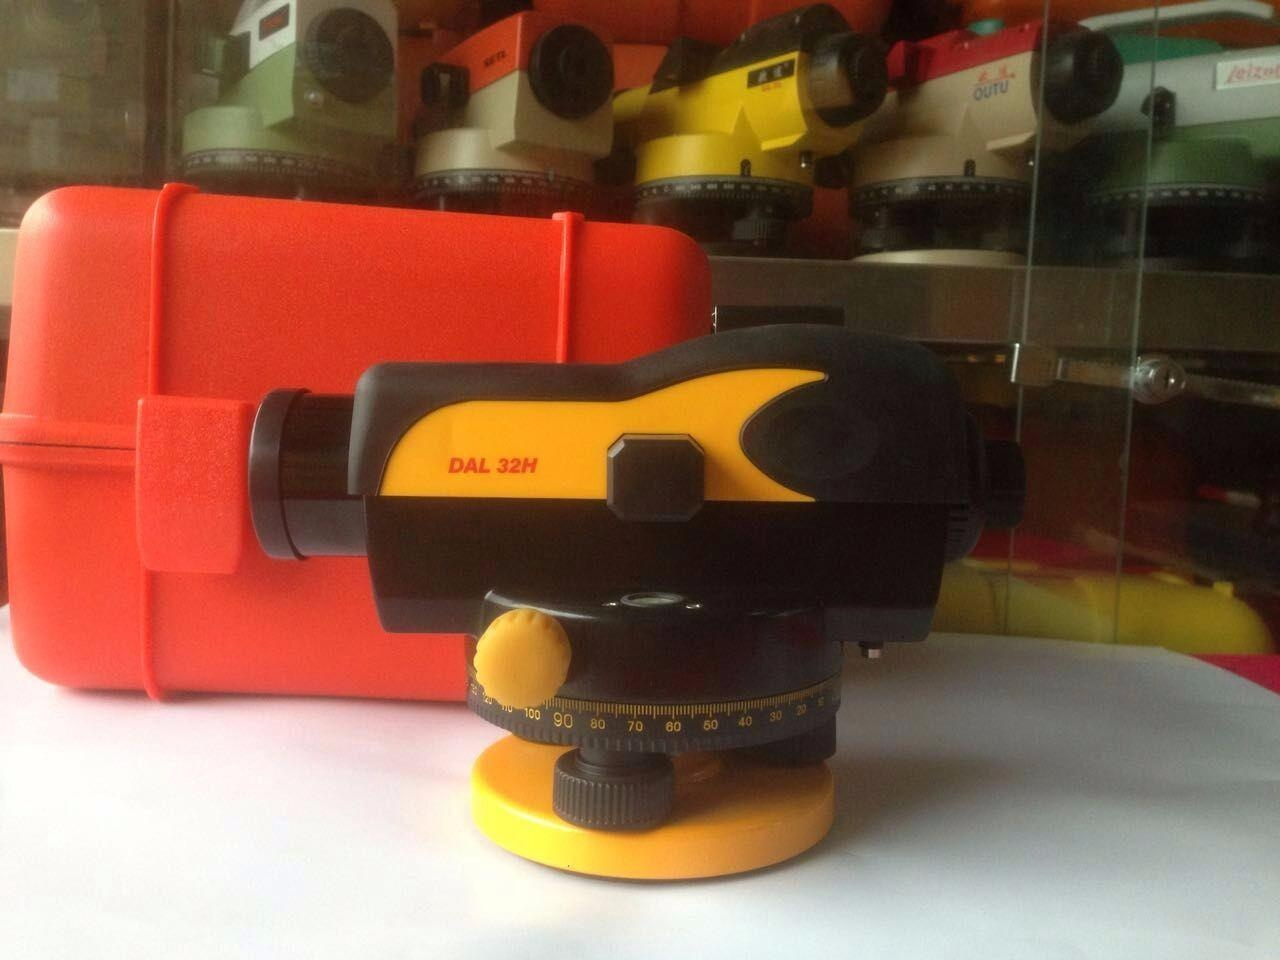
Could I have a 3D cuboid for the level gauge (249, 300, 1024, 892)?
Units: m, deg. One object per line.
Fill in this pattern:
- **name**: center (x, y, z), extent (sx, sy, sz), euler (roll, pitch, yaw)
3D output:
- **level gauge**: center (0.009, 0.057, 0.674), extent (0.427, 0.295, 0.236), euler (1, -1, 3)
